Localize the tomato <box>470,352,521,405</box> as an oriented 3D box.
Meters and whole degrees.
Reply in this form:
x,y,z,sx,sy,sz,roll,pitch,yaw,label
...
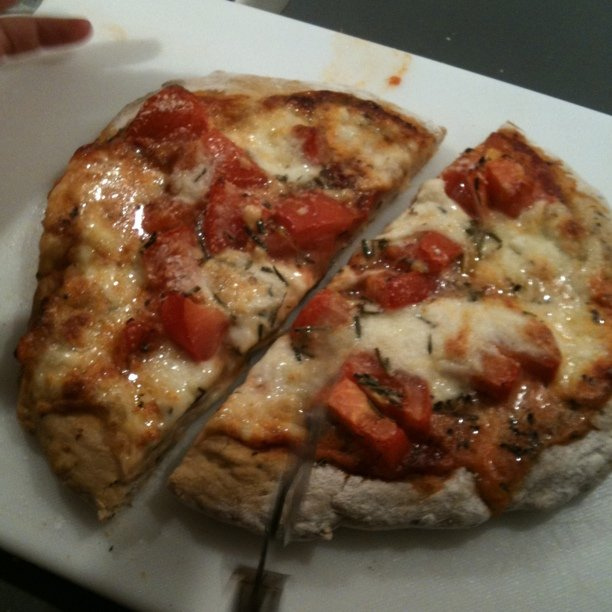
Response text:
x,y,z,sx,sy,sz,roll,pitch,yaw,label
0.418,0.158,1.731,0.108,0.089,0.081,17,45,4,tomato

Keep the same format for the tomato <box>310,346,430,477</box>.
x,y,z,sx,sy,sz,roll,pitch,yaw,label
0.153,0.230,1.722,0.282,0.194,0.200,34,48,22,tomato

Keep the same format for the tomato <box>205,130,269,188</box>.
x,y,z,sx,sy,sz,roll,pitch,yaw,label
-0.177,-0.344,1.882,0.200,0.043,0.098,31,46,-1,tomato
